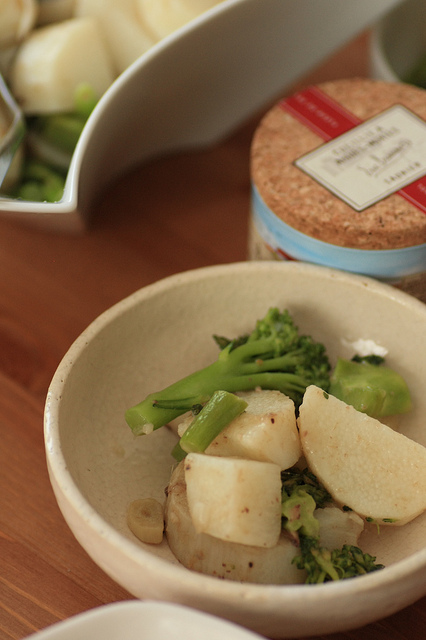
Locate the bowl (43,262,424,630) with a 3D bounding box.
[{"bbox_3d":[0.036,0.094,0.589,0.332,0.157,0.338,-5,55,7],"label":"bowl"}]

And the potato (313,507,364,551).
[{"bbox_3d":[0.108,0.175,0.542,0.039,0.011,0.033,-5,70,-17],"label":"potato"}]

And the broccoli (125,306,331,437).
[{"bbox_3d":[0.023,0.063,0.690,0.210,0.105,0.109,-24,42,12],"label":"broccoli"}]

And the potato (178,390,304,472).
[{"bbox_3d":[0.019,0.078,0.572,0.103,0.045,0.071,-10,31,13],"label":"potato"}]

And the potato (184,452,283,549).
[{"bbox_3d":[0.031,0.141,0.534,0.102,0.072,0.067,4,86,-1],"label":"potato"}]

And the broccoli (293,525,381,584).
[{"bbox_3d":[0.092,0.190,0.515,0.055,0.049,0.021,-19,56,11],"label":"broccoli"}]

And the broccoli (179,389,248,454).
[{"bbox_3d":[-0.002,0.089,0.566,0.039,0.024,0.066,31,64,31],"label":"broccoli"}]

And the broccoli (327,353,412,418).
[{"bbox_3d":[0.151,0.066,0.657,0.080,0.026,0.061,16,34,20],"label":"broccoli"}]
